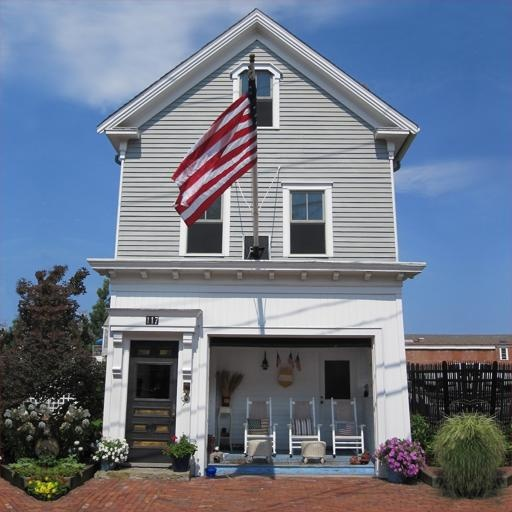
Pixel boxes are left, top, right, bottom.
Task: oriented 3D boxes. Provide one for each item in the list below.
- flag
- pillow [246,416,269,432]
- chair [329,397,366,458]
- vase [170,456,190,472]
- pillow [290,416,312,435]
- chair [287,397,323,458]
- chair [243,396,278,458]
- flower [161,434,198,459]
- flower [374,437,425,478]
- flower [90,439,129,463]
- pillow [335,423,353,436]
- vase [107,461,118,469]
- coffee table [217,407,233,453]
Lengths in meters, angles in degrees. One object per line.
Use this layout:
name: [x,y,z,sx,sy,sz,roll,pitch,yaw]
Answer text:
flag: [-0.442,-2.184,12.005,1.406,3.993,0.394,6,-38,28]
pillow: [0.081,4.151,14.810,0.348,0.353,0.110,6,-57,-16]
chair: [2.186,4.162,14.604,0.800,1.402,0.970,-2,-17,9]
vase: [-1.531,4.316,12.533,0.320,0.250,0.331,0,-24,-1]
pillow: [1.125,4.143,14.788,0.459,0.434,0.145,1,-38,-5]
chair: [1.149,4.173,14.631,0.767,1.435,0.907,0,-16,3]
chair: [0.091,4.191,15.127,0.988,1.839,1.155,1,-38,0]
flower: [-1.549,3.948,12.674,0.522,0.382,0.538,3,-7,-6]
flower: [2.963,4.192,12.520,0.848,0.878,0.890,3,-14,-28]
flower: [-2.953,4.079,12.631,0.517,0.402,0.551,5,-4,-1]
pillow: [2.149,4.231,14.738,0.415,0.297,0.248,-1,-11,13]
vase: [-2.964,4.381,12.616,0.231,0.234,0.126,3,-22,-21]
coffee table: [-0.787,4.457,15.711,0.375,1.045,0.609,2,-3,-2]
